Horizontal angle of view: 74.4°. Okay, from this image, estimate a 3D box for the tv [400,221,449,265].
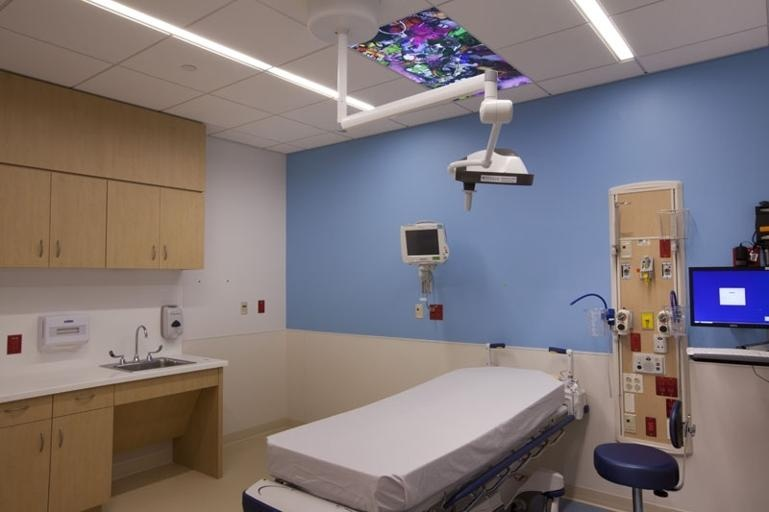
[{"bbox_3d":[0.393,-0.127,5.130,0.469,0.448,0.258,-2,-1,5],"label":"tv"}]

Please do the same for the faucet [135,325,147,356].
[{"bbox_3d":[-2.468,0.857,5.078,0.071,0.302,0.201,1,10,6],"label":"faucet"}]
